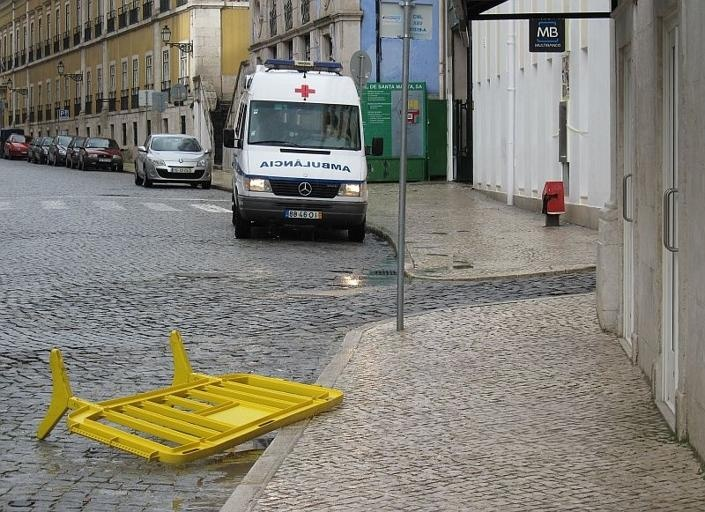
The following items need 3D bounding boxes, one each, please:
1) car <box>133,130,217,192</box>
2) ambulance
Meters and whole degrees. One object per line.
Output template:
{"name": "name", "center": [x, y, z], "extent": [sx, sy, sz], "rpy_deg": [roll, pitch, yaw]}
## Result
{"name": "car", "center": [-7.590, -3.821, 34.313], "extent": [2.636, 2.729, 3.636], "rpy_deg": [-3, 14, -16]}
{"name": "ambulance", "center": [-1.456, -2.590, 19.887], "extent": [3.140, 4.210, 6.928], "rpy_deg": [2, 7, -7]}
